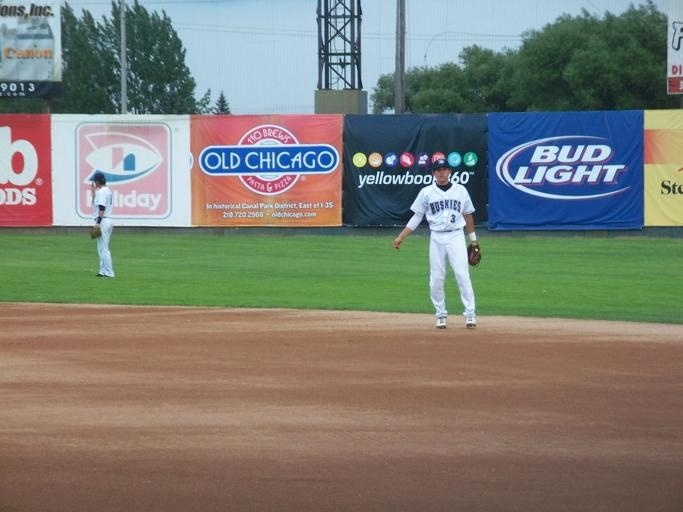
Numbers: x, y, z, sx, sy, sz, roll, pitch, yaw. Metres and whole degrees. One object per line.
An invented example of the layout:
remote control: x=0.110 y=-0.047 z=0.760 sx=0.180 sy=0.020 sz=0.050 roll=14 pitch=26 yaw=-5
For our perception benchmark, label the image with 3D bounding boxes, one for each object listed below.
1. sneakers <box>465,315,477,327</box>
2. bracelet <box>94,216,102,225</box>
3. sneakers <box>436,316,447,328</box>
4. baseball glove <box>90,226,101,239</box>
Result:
sneakers: x=2.724 y=1.403 z=30.659 sx=0.247 sy=0.249 sz=0.600 roll=-1 pitch=-4 yaw=1
bracelet: x=-6.100 y=-0.882 z=35.615 sx=0.195 sy=0.205 sz=0.207 roll=2 pitch=7 yaw=16
sneakers: x=2.114 y=1.404 z=30.746 sx=0.235 sy=0.241 sz=0.521 roll=0 pitch=7 yaw=3
baseball glove: x=-6.147 y=-0.583 z=35.630 sx=0.238 sy=0.348 sz=0.626 roll=-2 pitch=7 yaw=-9
